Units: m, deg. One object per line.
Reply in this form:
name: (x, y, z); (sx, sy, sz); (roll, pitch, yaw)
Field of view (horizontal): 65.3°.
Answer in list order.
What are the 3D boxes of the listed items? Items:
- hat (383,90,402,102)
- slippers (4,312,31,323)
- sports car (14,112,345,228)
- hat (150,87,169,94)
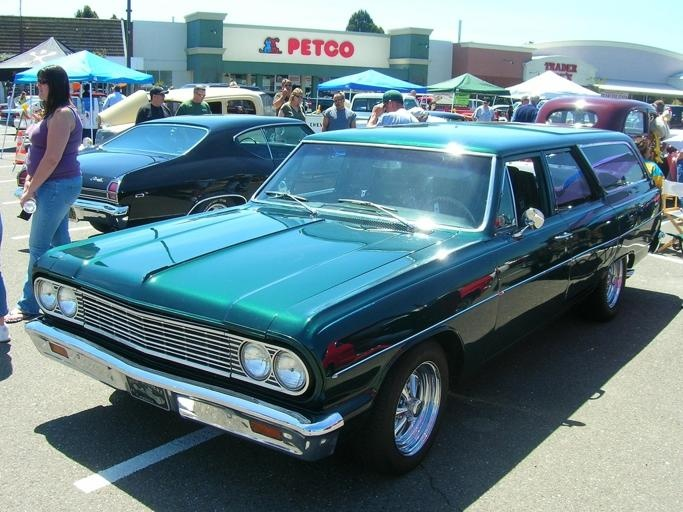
hat: (0.768, -2.387, 7.931); (0.236, 0.111, 0.216); (10, 15, 21)
slippers: (-2.964, 0.561, 4.959); (0.189, 0.058, 0.100); (6, -5, -38)
sports car: (-1.969, -1.381, 7.371); (3.577, 0.846, 2.001); (-15, 21, -40)
hat: (-3.168, -3.010, 9.662); (0.393, 0.109, 0.222); (-10, 23, -23)
